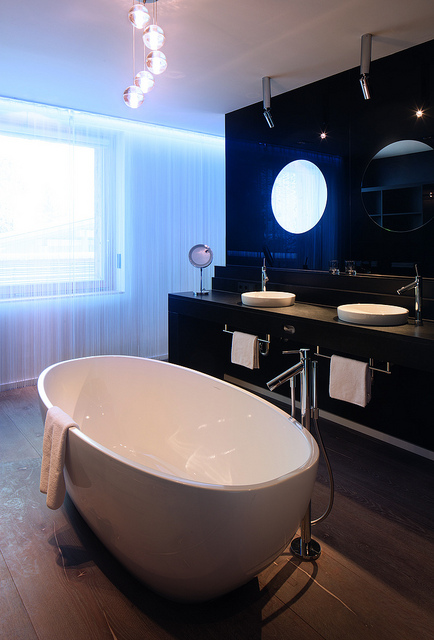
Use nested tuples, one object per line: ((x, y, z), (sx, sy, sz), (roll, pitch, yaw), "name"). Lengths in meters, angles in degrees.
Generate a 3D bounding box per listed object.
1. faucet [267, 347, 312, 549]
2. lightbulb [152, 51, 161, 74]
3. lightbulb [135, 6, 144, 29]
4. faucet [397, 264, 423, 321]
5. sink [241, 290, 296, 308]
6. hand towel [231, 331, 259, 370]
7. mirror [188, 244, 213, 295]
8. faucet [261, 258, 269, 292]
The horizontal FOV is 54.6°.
((0.276, 0.399, 1.422), (0.164, 0.658, 0.090), (-10, 13, -12), "faucet")
((-0.209, -0.900, 1.466), (0.026, 0.050, 0.071), (-1, 3, -9), "lightbulb")
((-0.244, -0.936, 1.307), (0.025, 0.040, 0.020), (0, 17, -5), "lightbulb")
((0.933, -0.124, 2.022), (0.107, 0.298, 0.039), (1, 25, 25), "faucet")
((0.326, -0.147, 2.811), (0.310, 0.115, 0.371), (-2, 3, -22), "sink")
((0.191, 0.190, 2.754), (0.057, 0.282, 0.254), (3, -3, -31), "hand towel")
((-0.138, -0.416, 3.546), (0.172, 0.405, 0.441), (0, 3, -2), "mirror")
((0.355, -0.333, 3.082), (0.057, 0.259, 0.293), (0, 3, 7), "faucet")
